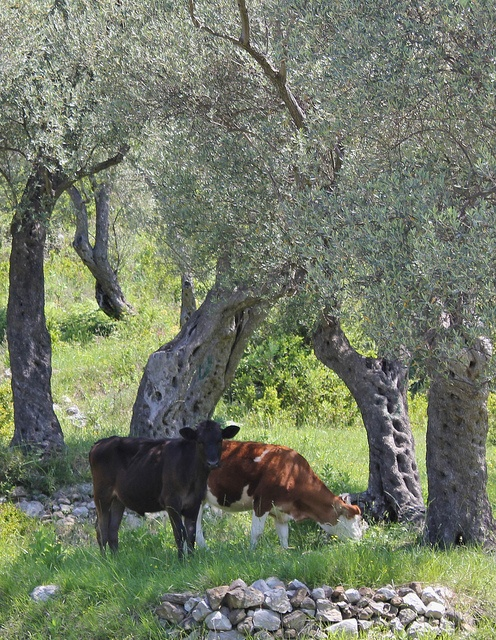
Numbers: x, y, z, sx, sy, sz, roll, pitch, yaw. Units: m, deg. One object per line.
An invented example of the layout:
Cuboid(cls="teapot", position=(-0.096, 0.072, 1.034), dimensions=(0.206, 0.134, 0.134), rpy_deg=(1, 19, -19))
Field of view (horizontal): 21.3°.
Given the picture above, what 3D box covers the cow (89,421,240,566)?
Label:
Cuboid(cls="cow", position=(-0.968, 1.851, 13.888), dimensions=(1.554, 1.510, 0.491), rpy_deg=(-3, 2, 21))
